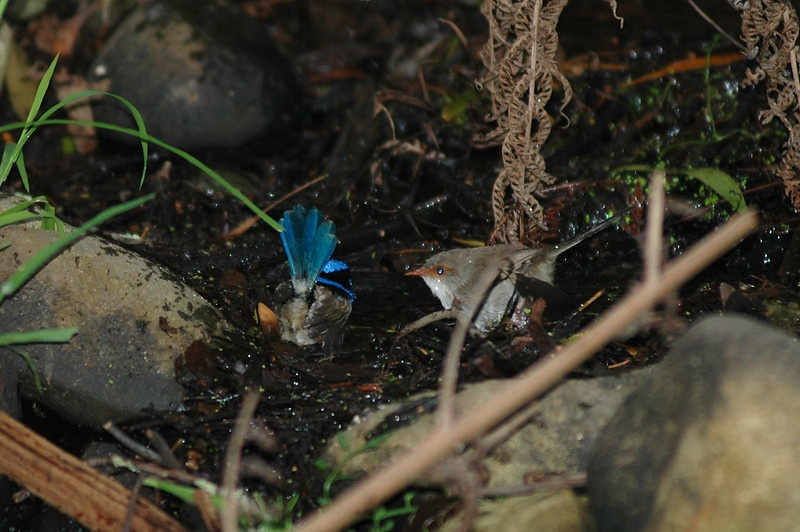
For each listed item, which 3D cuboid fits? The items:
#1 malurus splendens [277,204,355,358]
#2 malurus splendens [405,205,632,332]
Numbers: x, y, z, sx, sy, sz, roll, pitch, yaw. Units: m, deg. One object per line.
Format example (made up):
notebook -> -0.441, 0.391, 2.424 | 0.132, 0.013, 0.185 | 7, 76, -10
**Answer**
malurus splendens -> -0.443, 0.074, 4.416 | 0.267, 0.350, 0.834 | -11, 65, -5
malurus splendens -> 0.597, 0.049, 4.183 | 1.118, 0.345, 0.468 | -20, 89, 12
